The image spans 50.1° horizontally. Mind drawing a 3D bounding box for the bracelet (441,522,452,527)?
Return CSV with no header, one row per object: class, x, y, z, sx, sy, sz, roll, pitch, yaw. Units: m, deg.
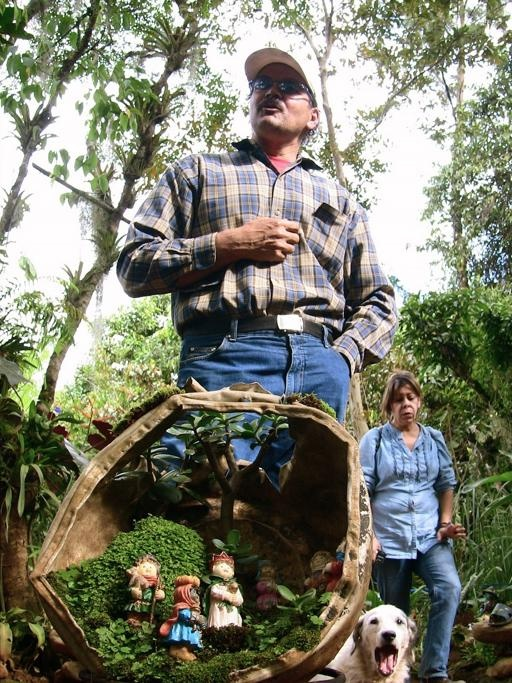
bracelet,0.979,0.949,2.846,0.043,0.032,0.040,-8,-47,26
